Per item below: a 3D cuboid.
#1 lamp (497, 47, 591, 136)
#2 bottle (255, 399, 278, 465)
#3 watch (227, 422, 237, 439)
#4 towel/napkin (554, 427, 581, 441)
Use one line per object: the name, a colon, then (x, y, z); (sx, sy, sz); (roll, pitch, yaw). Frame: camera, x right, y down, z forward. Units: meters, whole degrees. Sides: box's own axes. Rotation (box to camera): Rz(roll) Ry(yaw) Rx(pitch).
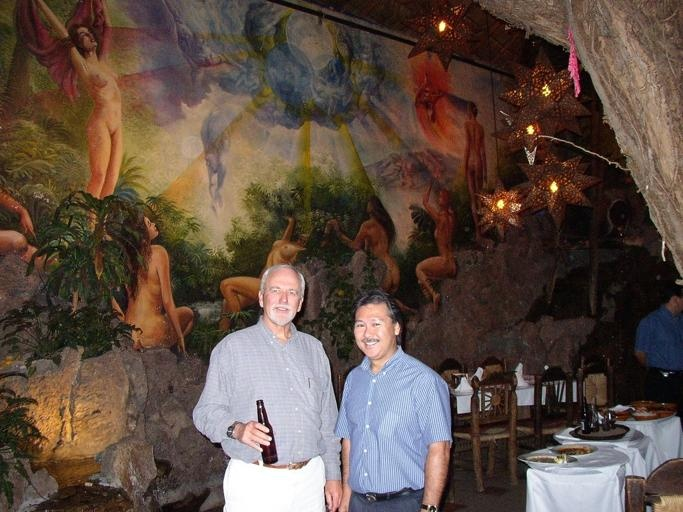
lamp: (2.000, -1.469, 6.924); (0.931, 1.005, 0.367); (1, 6, 19)
bottle: (-0.468, 1.106, 4.405); (0.122, 0.412, 0.206); (-3, -13, -6)
watch: (-0.690, 1.097, 4.403); (0.063, 0.092, 0.033); (5, -3, 34)
towel/napkin: (1.940, 1.552, 6.043); (0.124, 0.038, 0.130); (-2, 1, -12)
